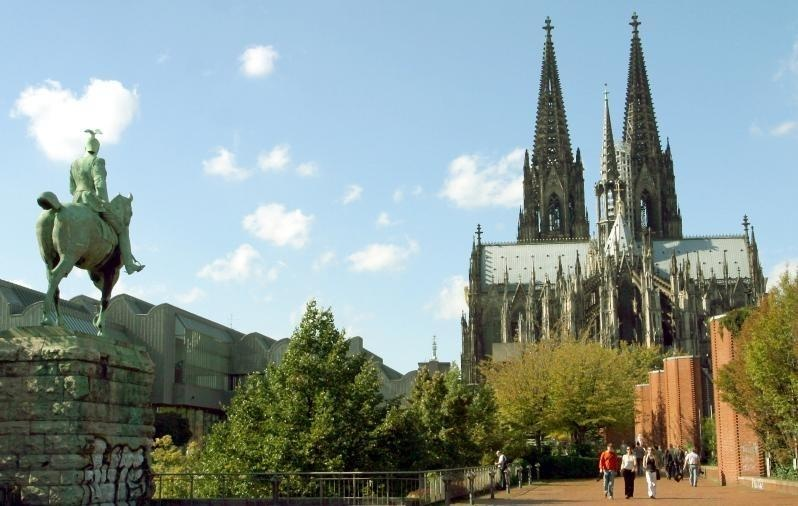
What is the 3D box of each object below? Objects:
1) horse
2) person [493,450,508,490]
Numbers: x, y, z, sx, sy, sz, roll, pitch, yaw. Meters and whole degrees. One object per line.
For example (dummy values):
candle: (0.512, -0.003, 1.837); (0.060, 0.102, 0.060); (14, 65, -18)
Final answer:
horse: (-12.506, 0.196, 44.718); (1.934, 6.201, 7.964); (0, -7, 11)
person: (5.008, 10.747, 55.291); (0.550, 1.764, 1.588); (-4, -18, 4)
